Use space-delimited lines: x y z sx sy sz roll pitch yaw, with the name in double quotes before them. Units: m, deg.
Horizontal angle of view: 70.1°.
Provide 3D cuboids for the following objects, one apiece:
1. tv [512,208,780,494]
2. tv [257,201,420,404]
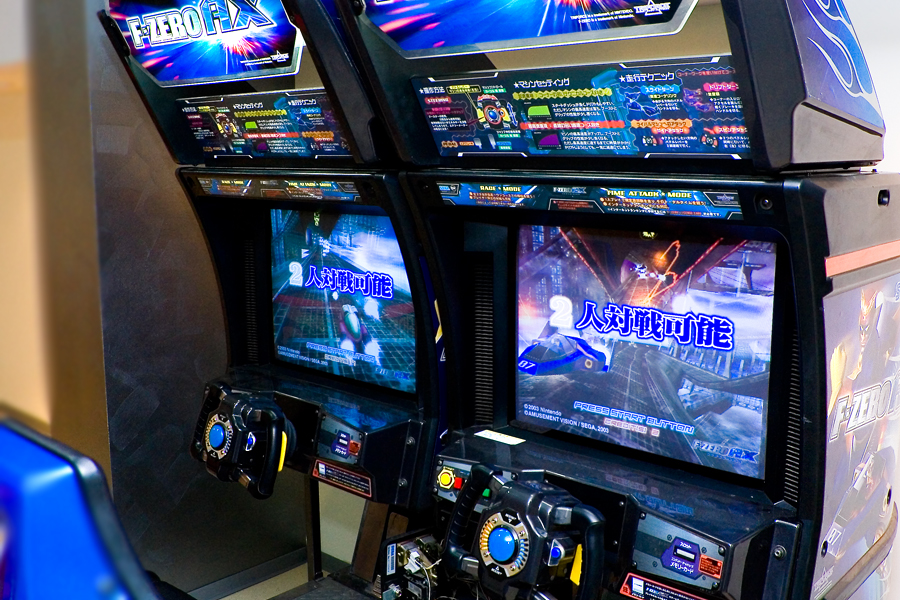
"tv" 0.687 0.169 2.143 0.888 0.659 0.034 8 10 35
"tv" -0.466 0.006 2.803 0.842 0.623 0.041 9 13 37
